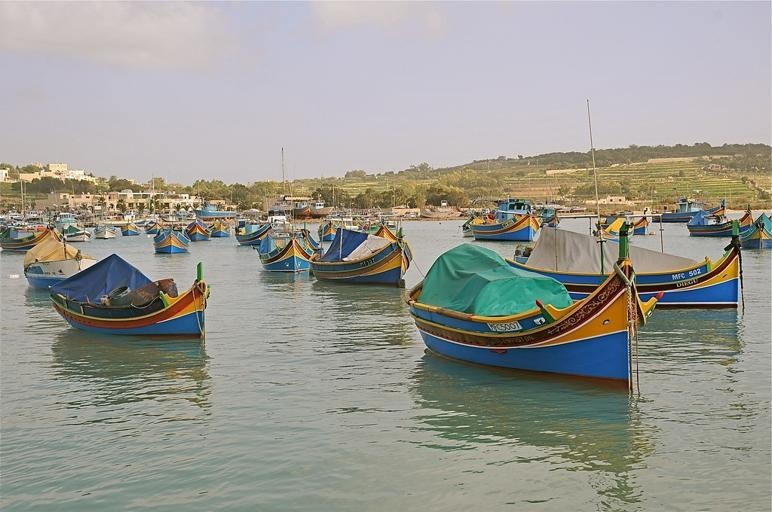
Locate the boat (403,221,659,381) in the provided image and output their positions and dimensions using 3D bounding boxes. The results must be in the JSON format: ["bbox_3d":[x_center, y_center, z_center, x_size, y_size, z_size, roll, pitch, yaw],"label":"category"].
[{"bbox_3d":[5.721,1.736,34.476,9.755,6.229,3.005,6,11,44],"label":"boat"}]

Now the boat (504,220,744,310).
[{"bbox_3d":[11.327,1.151,46.108,17.479,5.126,4.788,1,6,12],"label":"boat"}]

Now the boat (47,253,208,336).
[{"bbox_3d":[-13.503,2.191,43.164,10.466,3.526,3.815,0,1,38],"label":"boat"}]
